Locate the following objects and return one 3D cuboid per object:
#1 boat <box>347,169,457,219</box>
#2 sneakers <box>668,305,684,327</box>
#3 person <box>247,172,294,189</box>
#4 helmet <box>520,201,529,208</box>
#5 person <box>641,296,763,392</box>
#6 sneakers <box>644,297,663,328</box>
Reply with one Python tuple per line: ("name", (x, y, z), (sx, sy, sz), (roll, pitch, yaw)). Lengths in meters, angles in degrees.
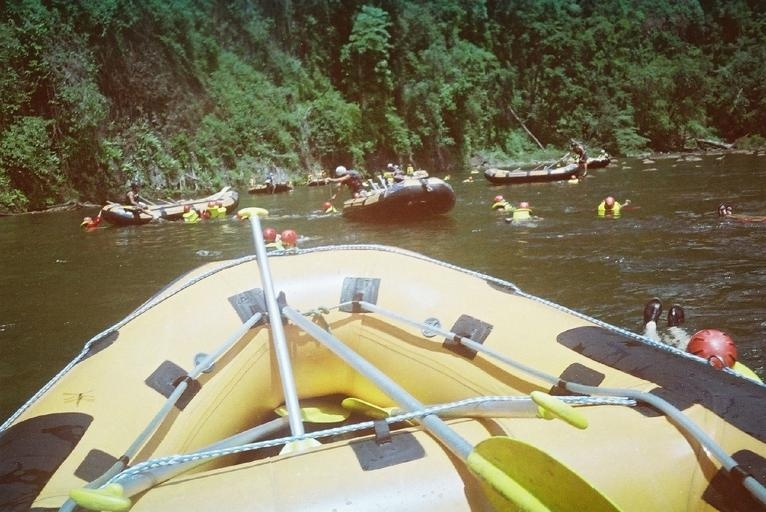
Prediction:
("boat", (0.166, -1.038, 10.401), (1.598, 0.539, 0.965), (-8, -3, 34))
("sneakers", (2.332, 0.487, 4.324), (0.113, 0.183, 0.058), (8, -10, 25))
("person", (-3.838, -2.480, 18.595), (1.212, 0.452, 1.931), (-6, 20, -14))
("helmet", (2.613, -0.944, 10.022), (0.191, 0.081, 0.254), (1, 13, 10))
("person", (2.121, 0.571, 3.795), (0.492, 0.310, 0.839), (16, 0, 12))
("sneakers", (2.098, 0.440, 4.239), (0.118, 0.312, 0.121), (13, 8, 21))
